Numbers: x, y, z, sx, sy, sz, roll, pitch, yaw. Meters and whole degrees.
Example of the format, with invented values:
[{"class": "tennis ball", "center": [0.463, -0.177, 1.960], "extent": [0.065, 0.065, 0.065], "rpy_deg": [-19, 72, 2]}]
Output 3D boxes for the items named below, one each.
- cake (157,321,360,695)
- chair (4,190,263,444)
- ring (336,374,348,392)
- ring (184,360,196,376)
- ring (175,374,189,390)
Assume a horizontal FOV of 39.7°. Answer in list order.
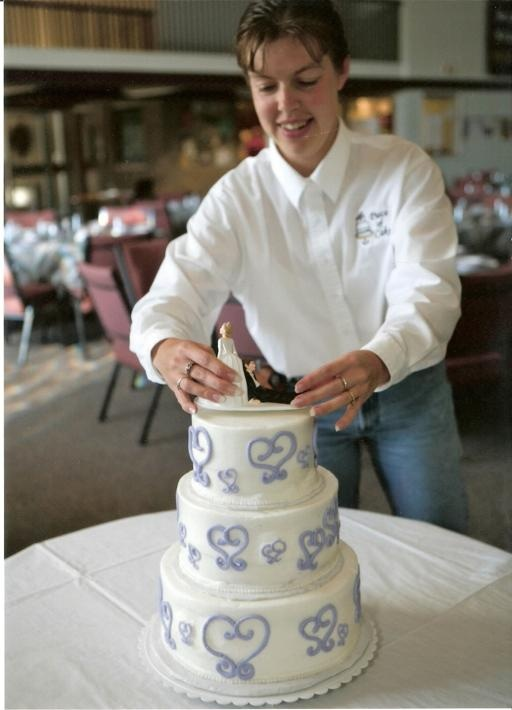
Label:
[{"class": "cake", "center": [-0.020, 0.244, 1.131], "extent": [0.355, 0.529, 0.253], "rpy_deg": [-4, 11, 5]}, {"class": "chair", "center": [-0.347, -0.175, 2.316], "extent": [0.620, 0.898, 0.657], "rpy_deg": [11, 38, 39]}, {"class": "ring", "center": [0.148, 0.050, 1.210], "extent": [0.010, 0.022, 0.018], "rpy_deg": [-11, 2, -4]}, {"class": "ring", "center": [-0.113, 0.022, 1.229], "extent": [0.025, 0.022, 0.024], "rpy_deg": [8, 16, -2]}, {"class": "ring", "center": [-0.127, 0.046, 1.224], "extent": [0.014, 0.022, 0.021], "rpy_deg": [18, 2, 22]}]
